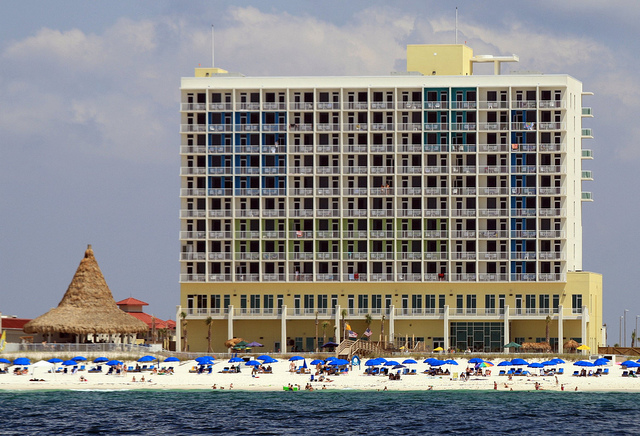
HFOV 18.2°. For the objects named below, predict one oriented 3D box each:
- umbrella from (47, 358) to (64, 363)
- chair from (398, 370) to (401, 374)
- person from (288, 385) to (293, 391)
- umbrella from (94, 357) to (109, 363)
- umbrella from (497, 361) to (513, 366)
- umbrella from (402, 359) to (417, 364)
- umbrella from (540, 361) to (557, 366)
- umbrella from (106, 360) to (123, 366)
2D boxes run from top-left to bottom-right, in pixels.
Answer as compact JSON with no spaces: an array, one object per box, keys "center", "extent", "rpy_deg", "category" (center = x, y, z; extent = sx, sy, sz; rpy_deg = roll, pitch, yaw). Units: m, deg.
[{"center":[-38.366,20.545,288.146],"extent":[2.037,0.615,1.962],"rpy_deg":[-2,-3,20],"category":"umbrella"},{"center":[11.213,22.089,286.570],"extent":[0.530,0.523,0.562],"rpy_deg":[1,2,4],"category":"chair"},{"center":[-4.372,24.050,281.673],"extent":[0.621,0.592,0.829],"rpy_deg":[-1,-3,0],"category":"person"},{"center":[-32.076,20.480,289.477],"extent":[1.859,0.631,2.092],"rpy_deg":[1,-4,-28],"category":"umbrella"},{"center":[27.053,21.344,292.879],"extent":[1.851,0.630,1.597],"rpy_deg":[-2,-3,21],"category":"umbrella"},{"center":[12.705,20.644,287.323],"extent":[1.804,0.558,2.257],"rpy_deg":[-1,-3,2],"category":"umbrella"},{"center":[32.974,21.035,289.164],"extent":[1.442,0.528,2.592],"rpy_deg":[-4,-4,40],"category":"umbrella"},{"center":[-29.889,20.987,288.634],"extent":[2.196,0.711,1.812],"rpy_deg":[-1,-3,-5],"category":"umbrella"}]
